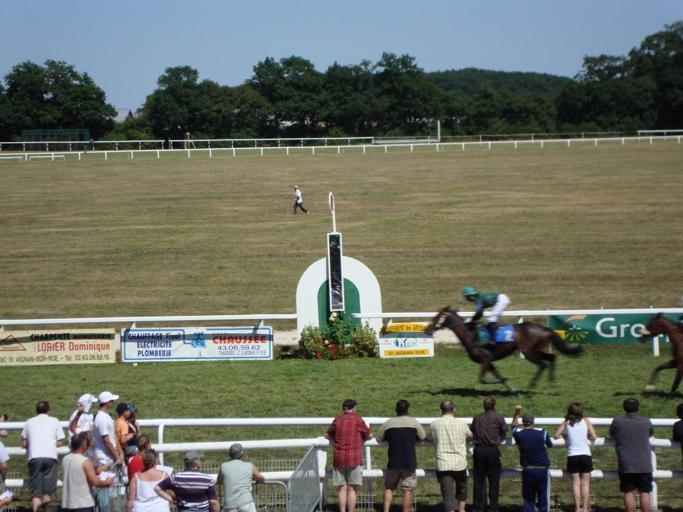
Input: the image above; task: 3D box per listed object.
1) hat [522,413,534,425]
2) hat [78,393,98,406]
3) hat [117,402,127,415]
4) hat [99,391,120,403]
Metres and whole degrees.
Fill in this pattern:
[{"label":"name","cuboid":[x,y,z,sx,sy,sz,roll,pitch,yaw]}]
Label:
[{"label":"hat","cuboid":[8.605,7.633,84.374,0.422,0.467,0.506,2,8,5]},{"label":"hat","cuboid":[-11.345,6.781,84.952,0.696,0.249,0.466,-2,11,-13]},{"label":"hat","cuboid":[-9.775,7.188,84.912,0.382,0.515,0.521,6,29,-8]},{"label":"hat","cuboid":[-10.361,6.660,84.817,0.789,0.298,0.497,-3,26,-19]}]
